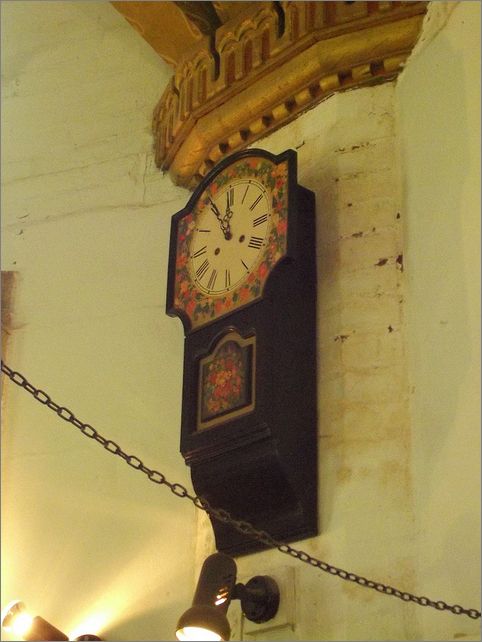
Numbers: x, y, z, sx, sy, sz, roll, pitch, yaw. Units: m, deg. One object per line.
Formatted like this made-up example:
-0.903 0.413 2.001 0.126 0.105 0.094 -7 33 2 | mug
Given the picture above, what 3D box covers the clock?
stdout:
-0.019 0.054 3.718 0.537 1.332 0.471 -9 -11 17 | clock
